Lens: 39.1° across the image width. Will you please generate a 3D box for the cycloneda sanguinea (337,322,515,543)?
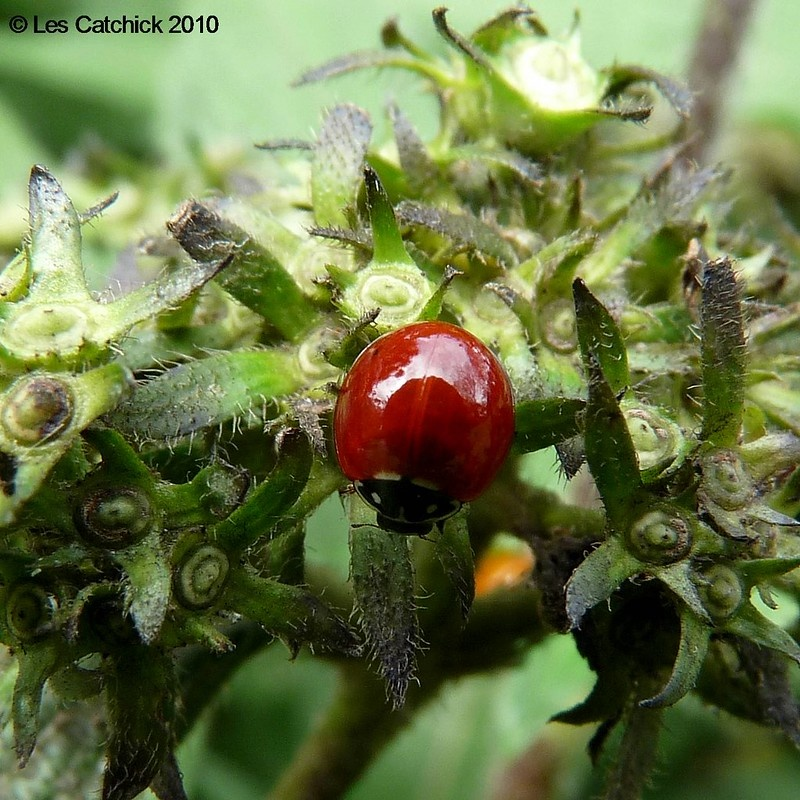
[{"bbox_3d":[0.018,0.012,0.766,0.131,0.089,0.138,4,73,3],"label":"cycloneda sanguinea"}]
